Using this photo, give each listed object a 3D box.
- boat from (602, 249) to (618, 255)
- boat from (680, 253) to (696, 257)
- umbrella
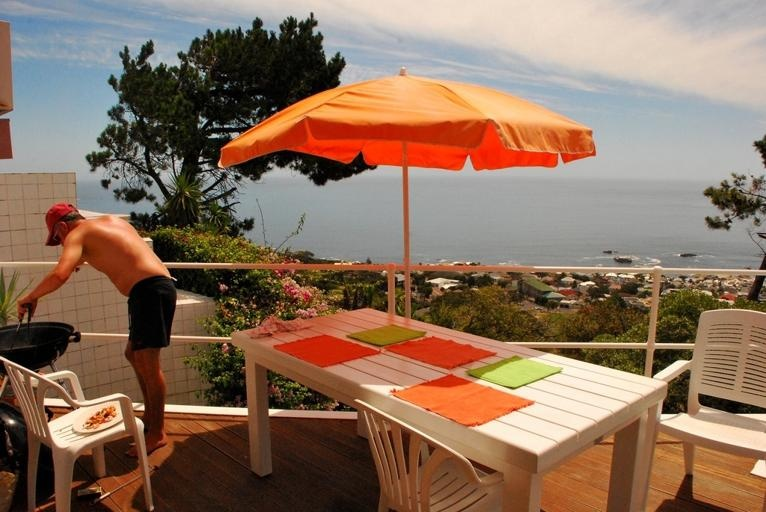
[{"bbox_3d":[21.413,-0.384,51.076,1.211,0.235,1.600,7,12,32],"label":"boat"},{"bbox_3d":[28.462,-0.100,50.528,1.629,0.217,1.115,-4,11,-20],"label":"boat"},{"bbox_3d":[0.327,-0.400,4.145,2.390,2.017,2.039,4,11,22],"label":"umbrella"}]
